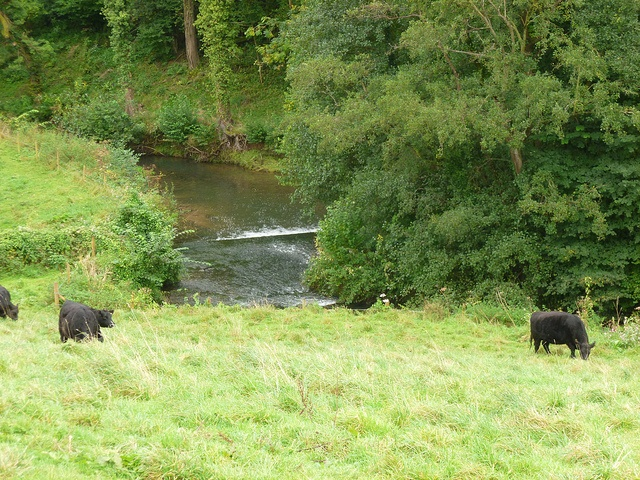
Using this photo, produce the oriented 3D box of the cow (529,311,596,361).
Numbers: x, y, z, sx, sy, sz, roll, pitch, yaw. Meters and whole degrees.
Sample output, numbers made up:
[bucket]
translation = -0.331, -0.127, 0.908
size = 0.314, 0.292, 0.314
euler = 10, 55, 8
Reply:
[cow]
translation = 8.124, 3.319, 30.158
size = 0.773, 1.589, 2.818
euler = 6, -1, -31
